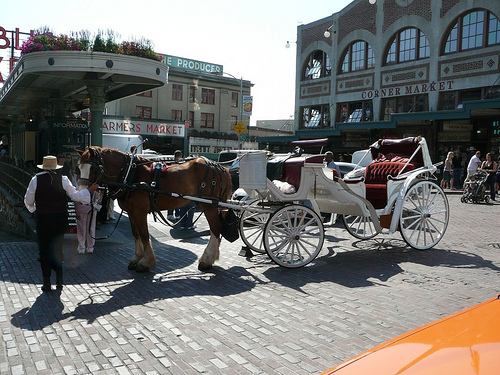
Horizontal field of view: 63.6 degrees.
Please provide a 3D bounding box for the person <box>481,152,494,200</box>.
[{"bbox_3d":[11.392,-0.482,19.175,0.655,2.234,1.047,7,12,31],"label":"person"}]

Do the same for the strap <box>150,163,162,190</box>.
[{"bbox_3d":[-1.945,-0.236,8.410,0.153,0.540,0.148,11,-19,8],"label":"strap"}]

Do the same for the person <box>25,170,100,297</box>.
[{"bbox_3d":[-3.558,0.693,7.640,1.327,2.401,0.864,-1,-7,-36],"label":"person"}]

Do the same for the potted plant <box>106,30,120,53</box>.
[{"bbox_3d":[-4.544,-4.853,13.331,0.394,0.710,0.960,-2,11,-14],"label":"potted plant"}]

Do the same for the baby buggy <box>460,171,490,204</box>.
[{"bbox_3d":[10.778,0.014,19.233,1.157,1.586,1.036,7,10,30],"label":"baby buggy"}]

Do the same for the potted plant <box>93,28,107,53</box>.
[{"bbox_3d":[-4.836,-4.684,12.944,0.438,0.655,1.490,-3,11,-19],"label":"potted plant"}]

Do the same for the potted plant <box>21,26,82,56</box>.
[{"bbox_3d":[-6.742,-4.989,13.760,1.759,0.896,1.626,11,26,17],"label":"potted plant"}]

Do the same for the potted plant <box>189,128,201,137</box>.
[{"bbox_3d":[-6.901,-6.930,51.359,1.045,0.363,1.073,19,9,20],"label":"potted plant"}]

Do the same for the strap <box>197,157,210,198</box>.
[{"bbox_3d":[-0.994,-0.164,8.838,0.145,0.614,0.386,5,2,-25],"label":"strap"}]

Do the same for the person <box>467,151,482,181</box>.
[{"bbox_3d":[10.921,-1.084,19.437,0.542,1.278,1.861,6,12,30],"label":"person"}]

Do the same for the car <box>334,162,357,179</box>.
[{"bbox_3d":[3.856,-0.802,16.153,1.013,0.754,1.600,4,11,20],"label":"car"}]
